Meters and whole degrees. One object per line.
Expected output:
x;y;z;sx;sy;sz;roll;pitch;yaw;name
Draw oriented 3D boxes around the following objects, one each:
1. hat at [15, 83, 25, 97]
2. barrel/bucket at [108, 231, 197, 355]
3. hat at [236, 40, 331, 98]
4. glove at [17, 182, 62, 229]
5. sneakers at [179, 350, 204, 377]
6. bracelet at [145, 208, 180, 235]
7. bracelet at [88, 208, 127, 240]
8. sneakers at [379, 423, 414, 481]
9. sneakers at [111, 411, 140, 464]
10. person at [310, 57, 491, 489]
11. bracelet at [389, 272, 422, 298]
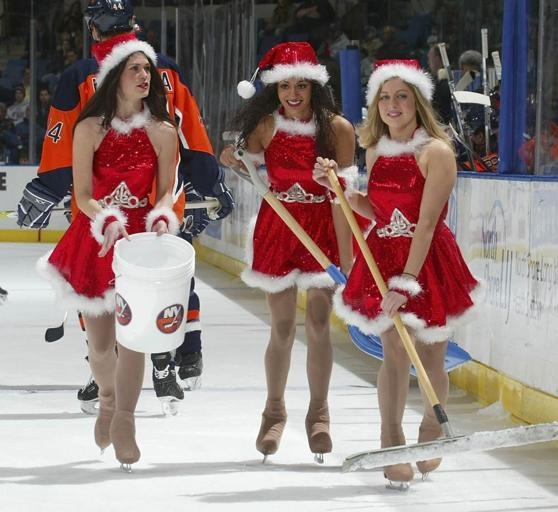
-3.523;-2.193;12.139;0.118;0.165;0.155;-2;47;-3;hat
-0.479;0.195;3.453;0.368;0.319;0.380;5;3;0;barrel/bucket
0.000;-0.768;3.759;0.393;0.206;0.305;-6;15;-3;hat
-1.129;-0.211;4.150;0.161;0.199;0.144;31;-1;33;glove
-0.475;0.566;4.739;0.107;0.134;0.130;-4;-12;19;sneakers
-0.469;-0.115;3.566;0.093;0.116;0.044;10;-30;-4;bracelet
-0.671;-0.109;3.438;0.109;0.133;0.051;9;-19;4;bracelet
0.439;0.748;3.448;0.094;0.222;0.291;5;1;-5;sneakers
-0.604;0.697;3.528;0.083;0.202;0.104;-22;16;-35;sneakers
0.466;0.063;3.435;0.592;1.602;0.488;2;6;13;person
0.463;0.110;3.276;0.091;0.055;0.096;20;16;4;bracelet
